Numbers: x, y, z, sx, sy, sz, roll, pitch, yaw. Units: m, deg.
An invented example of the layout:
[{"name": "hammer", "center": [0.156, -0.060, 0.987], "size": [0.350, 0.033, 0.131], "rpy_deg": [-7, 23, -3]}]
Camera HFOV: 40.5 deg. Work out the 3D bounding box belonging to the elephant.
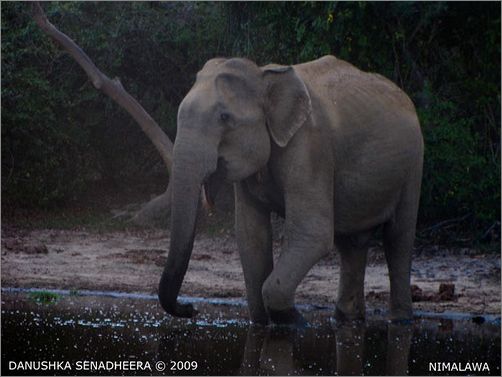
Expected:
[{"name": "elephant", "center": [0.572, 0.080, 7.371], "size": [3.076, 3.156, 1.404], "rpy_deg": [1, 6, -24]}]
